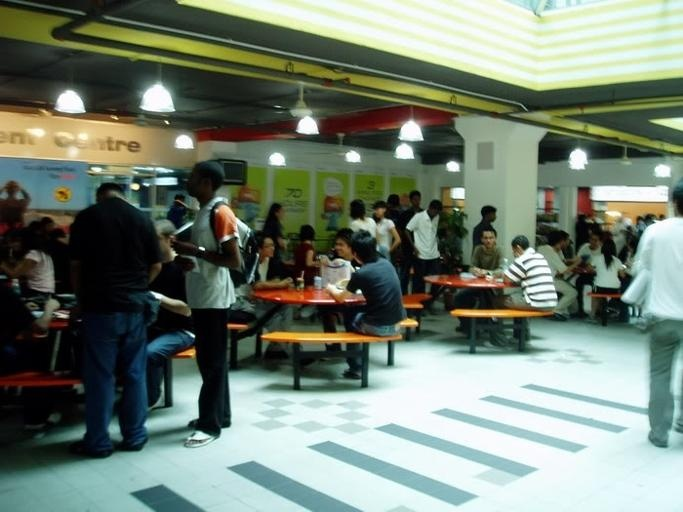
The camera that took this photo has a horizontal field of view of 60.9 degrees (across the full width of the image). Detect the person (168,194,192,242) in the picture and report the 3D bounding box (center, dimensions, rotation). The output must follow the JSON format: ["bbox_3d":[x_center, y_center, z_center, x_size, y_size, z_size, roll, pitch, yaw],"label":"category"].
[{"bbox_3d":[-3.752,-0.882,13.590,0.783,1.091,0.570,-6,17,-33],"label":"person"}]

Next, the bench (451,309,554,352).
[{"bbox_3d":[2.166,1.048,8.078,1.248,0.438,0.695,1,0,6],"label":"bench"}]

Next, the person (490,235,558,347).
[{"bbox_3d":[2.639,0.440,8.606,0.819,1.507,1.602,3,6,8],"label":"person"}]

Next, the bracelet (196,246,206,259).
[{"bbox_3d":[-1.063,-0.028,4.473,0.088,0.079,0.064,18,13,42],"label":"bracelet"}]

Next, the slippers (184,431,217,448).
[{"bbox_3d":[-1.140,1.468,4.691,0.250,0.082,0.086,2,28,-38],"label":"slippers"}]

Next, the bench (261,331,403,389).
[{"bbox_3d":[-0.081,1.054,6.778,1.484,0.586,1.711,1,6,1],"label":"bench"}]

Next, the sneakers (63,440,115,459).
[{"bbox_3d":[-1.935,1.488,4.499,0.359,0.094,0.135,0,-3,27],"label":"sneakers"}]

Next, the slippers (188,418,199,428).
[{"bbox_3d":[-1.279,1.446,5.016,0.090,0.079,0.215,0,-6,-9],"label":"slippers"}]

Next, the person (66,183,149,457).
[{"bbox_3d":[-1.897,0.442,4.618,0.719,2.007,0.812,-5,-6,38],"label":"person"}]

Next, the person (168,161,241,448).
[{"bbox_3d":[-1.058,0.374,4.692,0.520,2.265,0.486,0,7,-10],"label":"person"}]

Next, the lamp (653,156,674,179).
[{"bbox_3d":[8.242,-2.257,14.855,0.372,0.458,1.288,5,7,29],"label":"lamp"}]
